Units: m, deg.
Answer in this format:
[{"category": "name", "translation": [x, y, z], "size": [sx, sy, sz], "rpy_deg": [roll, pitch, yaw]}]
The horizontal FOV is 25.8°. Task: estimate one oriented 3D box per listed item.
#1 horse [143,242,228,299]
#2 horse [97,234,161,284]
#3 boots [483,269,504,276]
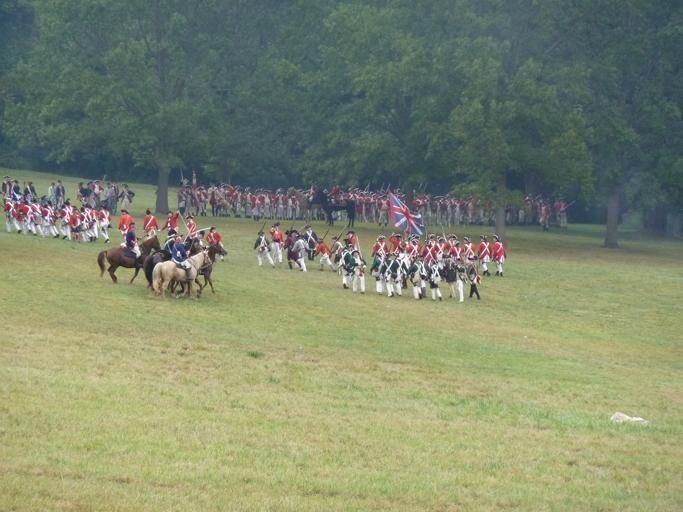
[{"category": "horse", "translation": [-7.810, 0.867, 73.794], "size": [5.928, 3.461, 1.549], "rpy_deg": [-11, 18, -44]}, {"category": "horse", "translation": [-10.737, 0.238, 75.140], "size": [3.353, 2.266, 0.815], "rpy_deg": [-4, 15, -30]}, {"category": "boots", "translation": [8.655, 1.003, 85.312], "size": [1.306, 0.527, 0.401], "rpy_deg": [-6, -4, 30]}]
